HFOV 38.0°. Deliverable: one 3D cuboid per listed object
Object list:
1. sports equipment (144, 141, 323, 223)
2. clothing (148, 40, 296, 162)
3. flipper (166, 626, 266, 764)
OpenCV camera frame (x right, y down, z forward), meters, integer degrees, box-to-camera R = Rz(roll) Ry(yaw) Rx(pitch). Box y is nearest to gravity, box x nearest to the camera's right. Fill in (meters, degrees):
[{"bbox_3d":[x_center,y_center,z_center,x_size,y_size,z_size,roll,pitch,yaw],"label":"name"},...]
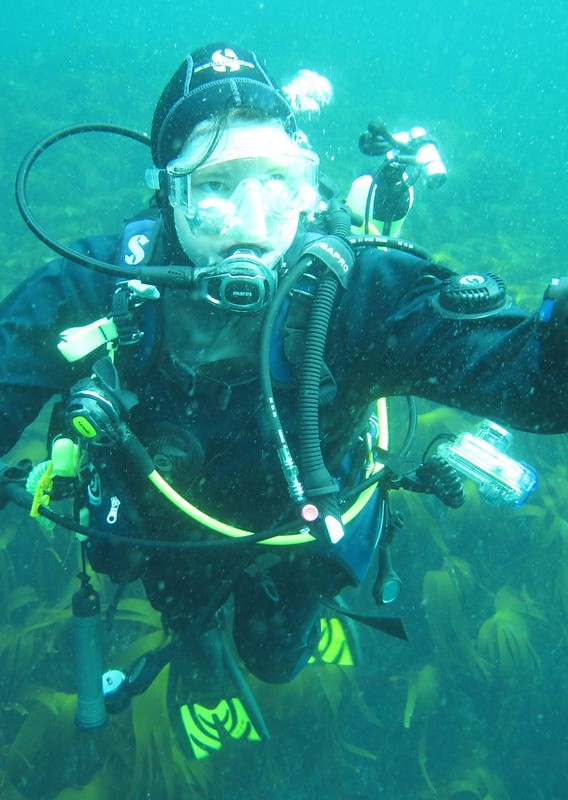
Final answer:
[{"bbox_3d":[-0.132,-0.980,4.056,0.777,0.277,0.801,-3,4,-25],"label":"sports equipment"},{"bbox_3d":[-0.350,-1.400,3.964,0.517,0.513,0.667,-22,19,-1],"label":"clothing"},{"bbox_3d":[-0.464,1.846,5.024,0.483,0.197,0.829,-12,37,-20],"label":"flipper"}]
